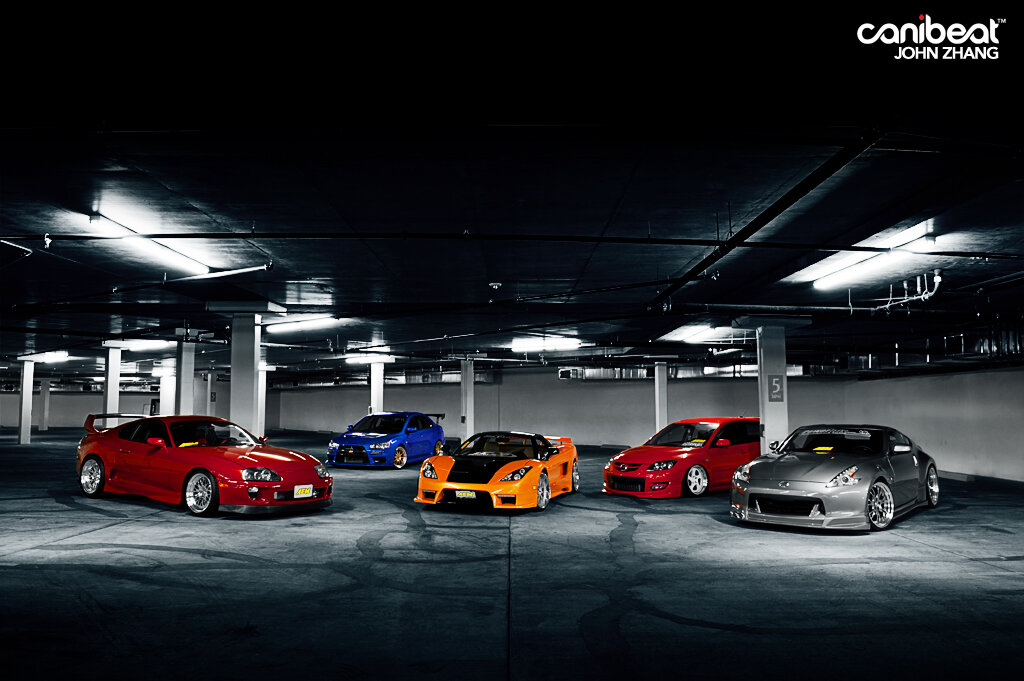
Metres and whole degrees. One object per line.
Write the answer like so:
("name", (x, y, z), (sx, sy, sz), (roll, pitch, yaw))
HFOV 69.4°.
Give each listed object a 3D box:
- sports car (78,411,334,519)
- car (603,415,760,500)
("sports car", (-6.041, 2.378, 14.376), (5.031, 1.689, 1.903), (-3, -8, 31))
("car", (4.068, 2.629, 16.703), (3.781, 0.957, 1.695), (5, -8, -43))
